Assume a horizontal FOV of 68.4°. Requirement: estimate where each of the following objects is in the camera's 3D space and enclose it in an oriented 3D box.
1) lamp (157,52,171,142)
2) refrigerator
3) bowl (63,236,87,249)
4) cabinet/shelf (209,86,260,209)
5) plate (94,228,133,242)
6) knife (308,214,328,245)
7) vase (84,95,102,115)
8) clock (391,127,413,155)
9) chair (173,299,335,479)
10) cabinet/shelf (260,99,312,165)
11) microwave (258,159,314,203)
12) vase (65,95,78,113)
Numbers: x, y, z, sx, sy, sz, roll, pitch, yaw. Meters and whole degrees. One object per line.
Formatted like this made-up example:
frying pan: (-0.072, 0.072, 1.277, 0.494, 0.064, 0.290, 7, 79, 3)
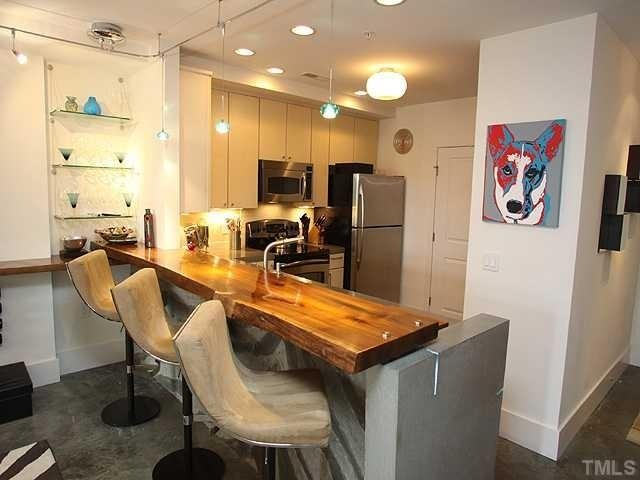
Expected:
lamp: (-1.432, -1.275, 4.303, 0.075, 0.765, 0.168, -5, 15, -28)
refrigerator: (0.604, -0.079, 6.073, 0.917, 1.759, 0.664, -6, 16, -34)
bowl: (-2.325, 0.029, 4.463, 0.138, 0.119, 0.189, 13, 16, 38)
cabinet/shelf: (-0.925, -0.970, 5.080, 0.232, 1.256, 0.713, 14, 17, 40)
plate: (-1.980, -0.047, 4.623, 0.213, 0.066, 0.215, 7, 10, 33)
knife: (-0.037, -0.132, 6.104, 0.142, 0.387, 0.314, -6, 15, -33)
vase: (-2.153, -1.238, 4.468, 0.179, 0.250, 0.183, -3, 11, -25)
clock: (1.100, -1.290, 6.237, 0.031, 0.340, 0.319, -10, 18, -43)
chair: (-0.293, 0.827, 3.002, 0.870, 1.424, 1.057, -3, 11, -5)
cabinet/shelf: (-0.424, -1.247, 5.456, 0.727, 0.687, 0.279, -2, 7, -40)
microwave: (-0.391, -0.653, 5.501, 0.446, 0.512, 0.713, 3, 3, 40)
vase: (-2.328, -1.261, 4.413, 0.123, 0.153, 0.221, -4, 14, -27)
